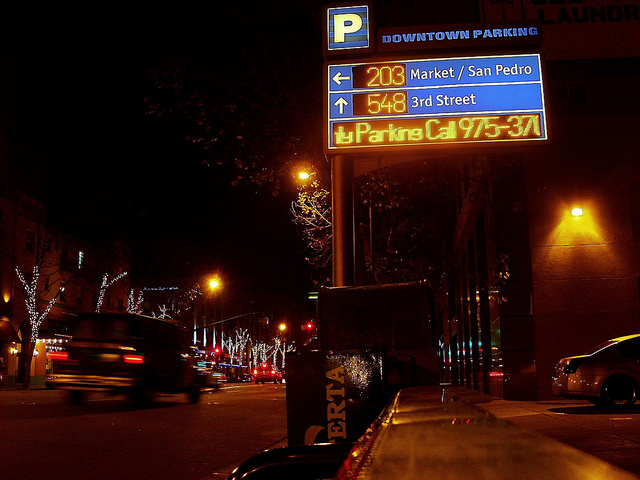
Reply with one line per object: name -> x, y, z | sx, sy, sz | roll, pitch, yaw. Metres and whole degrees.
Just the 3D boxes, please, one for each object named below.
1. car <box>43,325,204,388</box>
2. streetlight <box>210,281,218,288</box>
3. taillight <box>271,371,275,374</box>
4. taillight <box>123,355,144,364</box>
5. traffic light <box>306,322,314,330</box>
car -> -6.225, 2.896, 19.001 | 2.559, 1.514, 4.754 | 3, 4, -6
streetlight -> -7.305, 3.081, 43.176 | 0.393, 0.437, 0.093 | -10, 8, 1
taillight -> -4.750, 13.475, 63.312 | 0.156, 0.293, 0.729 | -2, -16, 14
taillight -> -5.086, 3.252, 16.980 | 0.522, 0.244, 0.092 | 7, -15, -20
traffic light -> -0.573, 5.114, 36.944 | 0.400, 0.397, 0.166 | -5, -9, -38
